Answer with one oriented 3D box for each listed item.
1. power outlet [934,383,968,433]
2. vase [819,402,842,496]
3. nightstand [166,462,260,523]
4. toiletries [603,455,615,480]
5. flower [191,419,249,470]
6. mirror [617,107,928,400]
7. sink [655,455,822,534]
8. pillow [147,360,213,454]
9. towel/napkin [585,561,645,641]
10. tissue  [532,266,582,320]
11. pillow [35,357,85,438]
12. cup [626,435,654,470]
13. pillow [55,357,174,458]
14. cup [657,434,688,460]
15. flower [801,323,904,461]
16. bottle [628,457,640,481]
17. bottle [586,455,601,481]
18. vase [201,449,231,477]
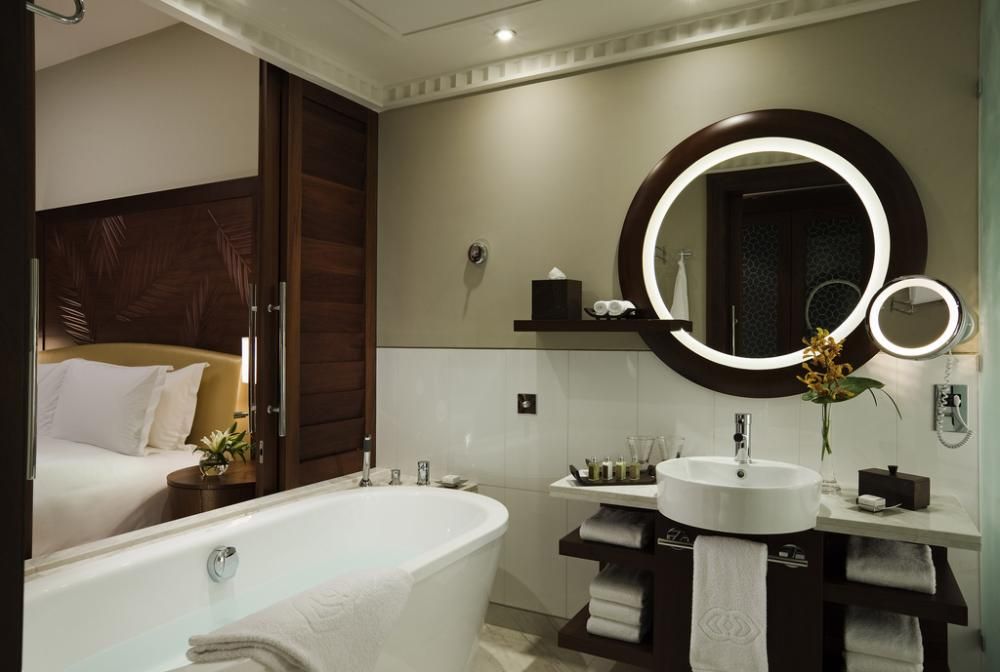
[{"bbox_3d":[2.019,0.323,3.121,0.134,0.218,0.027,-2,-2,12],"label":"power outlet"},{"bbox_3d":[1.519,0.510,3.211,0.082,0.397,0.209,-2,-3,26],"label":"vase"},{"bbox_3d":[-1.546,0.792,3.764,0.290,0.305,0.312,1,1,38],"label":"nightstand"},{"bbox_3d":[0.524,0.662,3.417,0.070,0.136,0.071,1,0,-20],"label":"toiletries"},{"bbox_3d":[-1.564,0.613,3.932,0.230,0.164,0.243,1,0,26],"label":"flower"},{"bbox_3d":[1.375,-0.393,3.366,1.293,1.393,0.073,6,1,26],"label":"mirror"},{"bbox_3d":[1.028,0.701,3.042,0.663,0.282,0.456,-2,-3,14],"label":"sink"},{"bbox_3d":[-1.794,0.401,3.880,0.463,0.429,0.199,-2,5,40],"label":"pillow"},{"bbox_3d":[0.544,1.220,3.229,0.232,0.170,0.333,1,-4,18],"label":"towel/napkin"},{"bbox_3d":[0.303,-0.206,3.682,0.265,0.284,0.262,-2,-3,8],"label":"tissue "},{"bbox_3d":[-2.189,0.312,3.411,0.103,0.360,0.365,-1,-1,21],"label":"pillow"},{"bbox_3d":[0.700,0.575,3.471,0.131,0.156,0.137,3,-5,0],"label":"cup"},{"bbox_3d":[-2.003,0.370,3.581,0.495,0.384,0.179,2,1,20],"label":"pillow"},{"bbox_3d":[0.846,0.544,3.439,0.115,0.123,0.123,0,-5,0],"label":"cup"},{"bbox_3d":[1.623,0.199,3.451,0.479,0.729,0.700,0,-2,4],"label":"flower"},{"bbox_3d":[0.658,0.658,3.398,0.068,0.137,0.071,3,1,0],"label":"bottle"},{"bbox_3d":[0.475,0.671,3.474,0.081,0.142,0.075,1,-1,0],"label":"bottle"},{"bbox_3d":[-1.577,0.711,3.856,0.118,0.093,0.129,5,-6,-35],"label":"vase"}]
